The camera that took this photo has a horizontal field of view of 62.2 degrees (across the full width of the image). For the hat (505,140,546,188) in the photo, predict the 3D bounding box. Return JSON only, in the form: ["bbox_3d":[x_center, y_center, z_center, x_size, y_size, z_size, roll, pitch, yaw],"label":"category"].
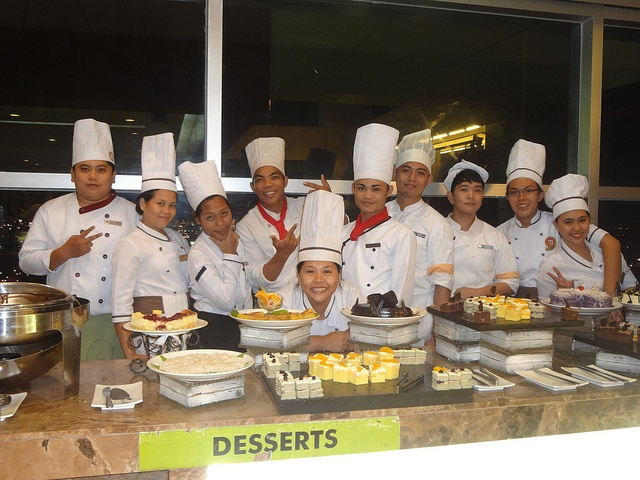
[{"bbox_3d":[1.403,-0.490,3.655,0.316,0.318,0.249,11,-9,-43],"label":"hat"}]

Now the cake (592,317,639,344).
[{"bbox_3d":[1.200,0.373,2.132,0.161,0.061,0.126,0,8,5],"label":"cake"}]

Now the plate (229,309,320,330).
[{"bbox_3d":[-0.186,0.314,2.170,0.347,0.056,0.322,-1,8,1],"label":"plate"}]

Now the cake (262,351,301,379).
[{"bbox_3d":[-0.145,0.453,1.939,0.094,0.045,0.094,0,12,-6],"label":"cake"}]

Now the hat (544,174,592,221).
[{"bbox_3d":[1.609,-0.277,3.474,0.245,0.231,0.287,-4,-6,-18],"label":"hat"}]

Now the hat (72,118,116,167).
[{"bbox_3d":[-1.291,-0.548,3.024,0.236,0.271,0.264,0,4,-12],"label":"hat"}]

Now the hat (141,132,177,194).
[{"bbox_3d":[-0.897,-0.427,2.947,0.180,0.320,0.132,-3,8,-14],"label":"hat"}]

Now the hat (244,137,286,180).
[{"bbox_3d":[-0.331,-0.544,3.479,0.260,0.197,0.223,10,-27,-34],"label":"hat"}]

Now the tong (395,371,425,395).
[{"bbox_3d":[0.311,0.504,1.866,0.042,0.017,0.076,3,21,32],"label":"tong"}]

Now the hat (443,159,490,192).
[{"bbox_3d":[0.939,-0.459,3.534,0.242,0.107,0.208,-19,-43,29],"label":"hat"}]

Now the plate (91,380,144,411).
[{"bbox_3d":[-0.705,0.540,1.859,0.164,0.033,0.204,-3,8,-17],"label":"plate"}]

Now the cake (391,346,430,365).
[{"bbox_3d":[0.347,0.436,2.051,0.078,0.028,0.078,-4,7,-22],"label":"cake"}]

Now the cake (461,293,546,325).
[{"bbox_3d":[0.794,0.286,2.291,0.343,0.083,0.267,-1,8,-2],"label":"cake"}]

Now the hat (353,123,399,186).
[{"bbox_3d":[0.311,-0.479,2.996,0.240,0.343,0.152,0,8,8],"label":"hat"}]

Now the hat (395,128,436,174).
[{"bbox_3d":[0.602,-0.570,3.433,0.222,0.243,0.277,1,-7,3],"label":"hat"}]
